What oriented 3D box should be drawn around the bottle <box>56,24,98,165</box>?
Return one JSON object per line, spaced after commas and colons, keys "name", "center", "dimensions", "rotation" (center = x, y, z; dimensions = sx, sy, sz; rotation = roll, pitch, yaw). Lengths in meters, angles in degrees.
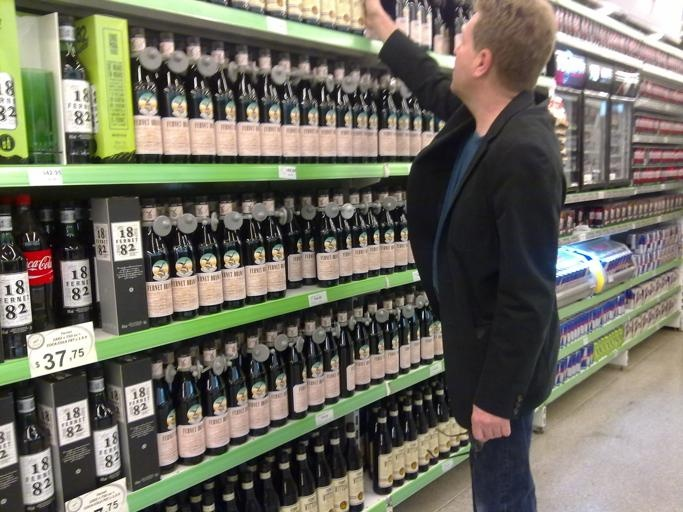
{"name": "bottle", "center": [-0.917, -0.570, 1.858], "dimensions": [0.078, 0.483, 0.128], "rotation": [-3, 8, 6]}
